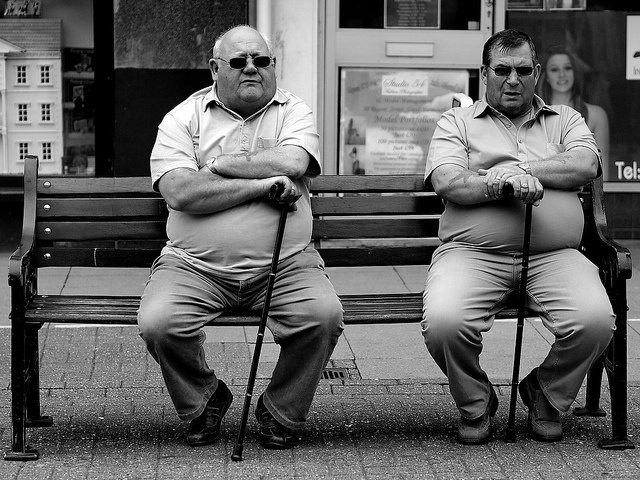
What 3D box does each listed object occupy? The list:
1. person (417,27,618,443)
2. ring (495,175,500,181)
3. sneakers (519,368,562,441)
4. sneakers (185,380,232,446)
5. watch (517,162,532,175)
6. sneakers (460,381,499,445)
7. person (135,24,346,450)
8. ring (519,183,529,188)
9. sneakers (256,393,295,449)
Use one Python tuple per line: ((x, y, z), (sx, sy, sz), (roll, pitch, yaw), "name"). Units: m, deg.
((1.067, -0.047, 5.425), (1.007, 2.063, 0.940), (2, 15, 5), "person")
((0.927, -0.317, 5.217), (0.023, 0.015, 0.022), (0, 31, 0), "ring")
((1.153, 0.859, 5.384), (0.163, 0.174, 0.406), (-6, 57, -5), "sneakers")
((-0.566, 0.915, 5.360), (0.146, 0.162, 0.414), (25, 56, 2), "sneakers")
((1.095, -0.376, 5.319), (0.048, 0.025, 0.074), (-6, 31, -17), "watch")
((0.857, 0.893, 5.357), (0.137, 0.168, 0.384), (3, 35, 12), "sneakers")
((-0.410, -0.038, 5.336), (1.032, 2.094, 0.837), (0, 15, 1), "person")
((1.044, -0.270, 5.123), (0.038, 0.020, 0.017), (3, 15, 10), "ring")
((-0.262, 0.936, 5.310), (0.133, 0.141, 0.347), (-5, 24, -19), "sneakers")
